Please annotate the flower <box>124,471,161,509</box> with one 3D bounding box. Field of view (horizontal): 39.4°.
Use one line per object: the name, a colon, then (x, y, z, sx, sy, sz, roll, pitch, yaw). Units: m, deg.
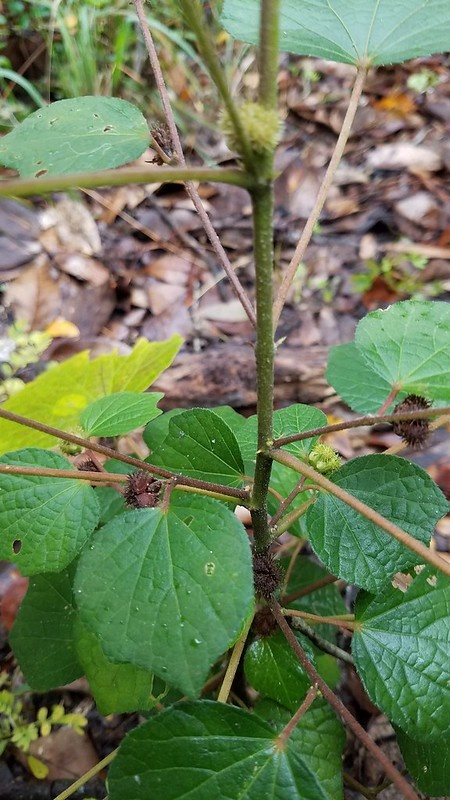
flower: (-0.152, 0.175, 1.160, 0.070, 0.059, 0.107, -2, 23, -7)
